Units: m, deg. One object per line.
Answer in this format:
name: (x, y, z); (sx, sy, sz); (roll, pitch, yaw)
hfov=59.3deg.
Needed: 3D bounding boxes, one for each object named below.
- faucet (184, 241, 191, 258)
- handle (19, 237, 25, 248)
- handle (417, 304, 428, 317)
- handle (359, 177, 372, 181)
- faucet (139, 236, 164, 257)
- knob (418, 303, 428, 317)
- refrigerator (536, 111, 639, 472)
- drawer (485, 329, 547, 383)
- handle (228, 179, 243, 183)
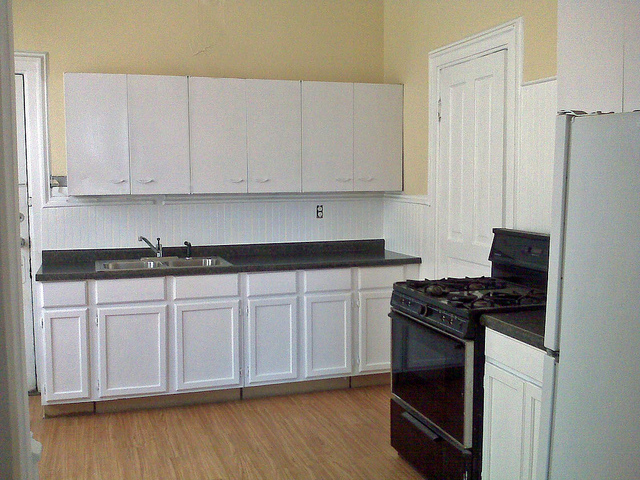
faucet: (-1.008, 0.073, 4.301); (0.047, 0.124, 0.182); (-4, 7, -15)
handle: (-2.187, 0.020, 4.133); (0.014, 0.069, 0.068); (-4, 7, -13)
handle: (0.535, 0.371, 2.934); (0.016, 0.042, 0.055); (6, -4, -28)
handle: (0.362, -0.480, 4.426); (0.097, 0.024, 0.016); (-5, 7, -19)
faucet: (-1.261, 0.057, 4.207); (0.169, 0.170, 0.304); (-4, 7, -16)
knob: (0.537, 0.364, 2.934); (0.014, 0.053, 0.051); (2, -5, -29)
refrigerator: (0.919, 0.206, 1.896); (0.158, 1.280, 0.439); (-4, 7, -13)
drawer: (0.846, 0.502, 2.450); (0.134, 0.072, 0.194); (11, 3, -27)
handle: (-0.626, -0.438, 4.150); (0.100, 0.025, 0.020); (-5, 7, -22)
